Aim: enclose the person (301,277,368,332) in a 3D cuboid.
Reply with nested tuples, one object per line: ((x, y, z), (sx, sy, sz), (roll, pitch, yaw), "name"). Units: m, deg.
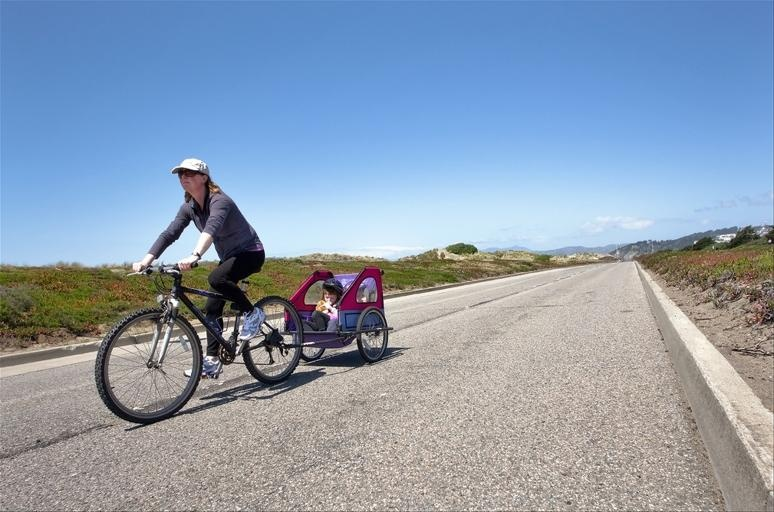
((-1.010, 0.826, 7.536), (0.842, 0.827, 0.754), (-2, 4, -14), "person")

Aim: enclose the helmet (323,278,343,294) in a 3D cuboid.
((-0.947, 0.510, 7.594), (0.229, 0.247, 0.307), (10, 14, 40), "helmet")

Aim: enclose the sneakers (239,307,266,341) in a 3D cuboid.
((-1.894, 0.959, 6.196), (0.197, 0.511, 0.242), (6, -27, 29), "sneakers")
